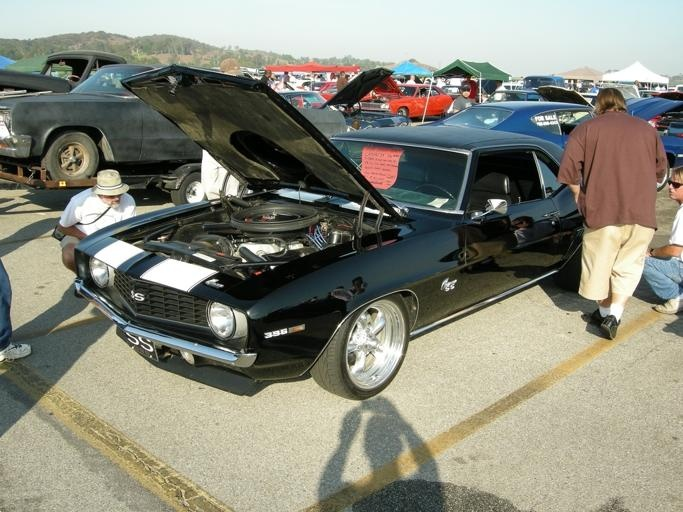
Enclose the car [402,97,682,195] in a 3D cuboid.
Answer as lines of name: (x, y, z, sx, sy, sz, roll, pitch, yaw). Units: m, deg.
car: (5.316, -2.631, 11.936, 7.074, 1.256, 2.605, -8, 19, -15)
